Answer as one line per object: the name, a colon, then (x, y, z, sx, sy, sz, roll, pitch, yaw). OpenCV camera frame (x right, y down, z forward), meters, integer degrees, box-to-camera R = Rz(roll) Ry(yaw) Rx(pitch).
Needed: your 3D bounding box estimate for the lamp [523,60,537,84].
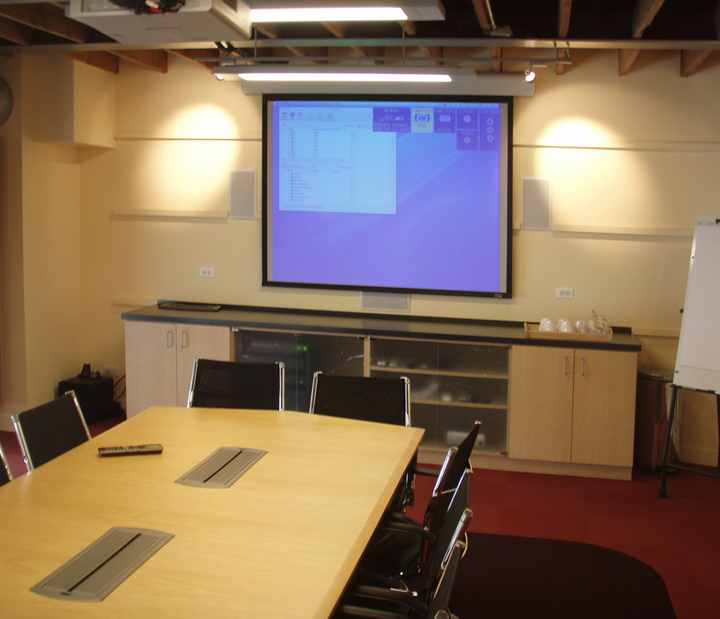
lamp: (1.334, -1.875, 4.973, 0.134, 0.212, 0.046, -2, -2, 0)

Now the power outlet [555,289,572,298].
power outlet: (1.724, -0.134, 5.355, 0.107, 0.081, 0.027, 4, 3, 10)
